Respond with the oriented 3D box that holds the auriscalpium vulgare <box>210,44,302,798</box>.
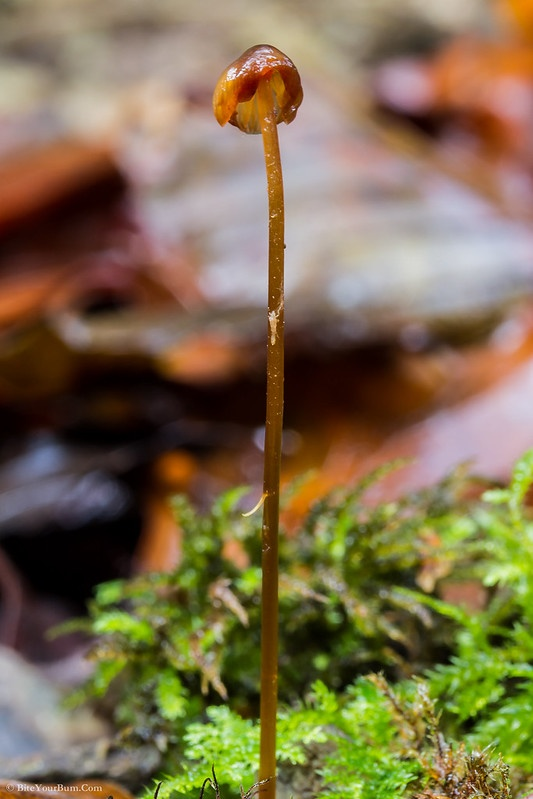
[{"bbox_3d":[-0.012,0.023,0.928,0.096,0.821,0.246,0,15,2],"label":"auriscalpium vulgare"}]
